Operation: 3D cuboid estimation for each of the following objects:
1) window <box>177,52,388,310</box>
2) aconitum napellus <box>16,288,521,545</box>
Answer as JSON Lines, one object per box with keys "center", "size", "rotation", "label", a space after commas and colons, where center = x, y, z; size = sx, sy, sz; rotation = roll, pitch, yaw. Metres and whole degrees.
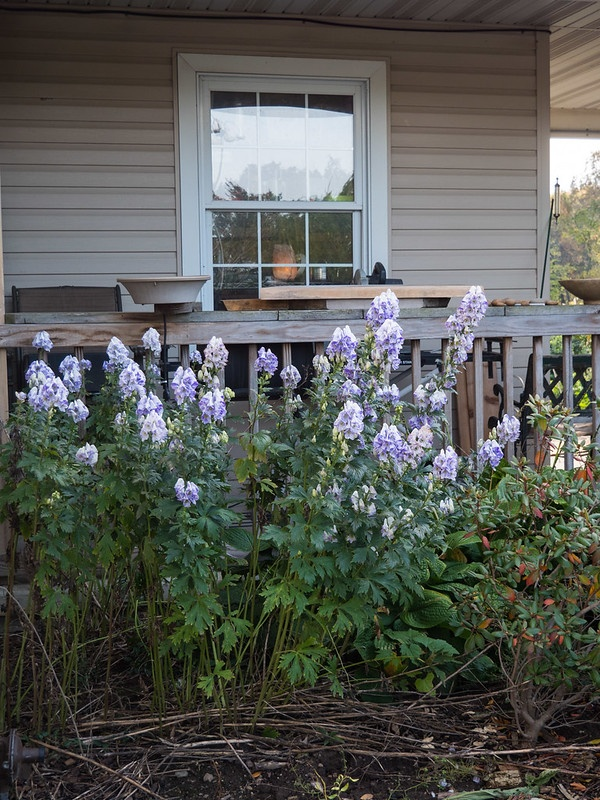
{"center": [-0.103, -1.468, 5.950], "size": [1.494, 1.731, 0.414], "rotation": [-3, 8, -13], "label": "window"}
{"center": [-0.032, -0.271, 3.658], "size": [1.432, 0.536, 2.804], "rotation": [3, 9, 27], "label": "aconitum napellus"}
